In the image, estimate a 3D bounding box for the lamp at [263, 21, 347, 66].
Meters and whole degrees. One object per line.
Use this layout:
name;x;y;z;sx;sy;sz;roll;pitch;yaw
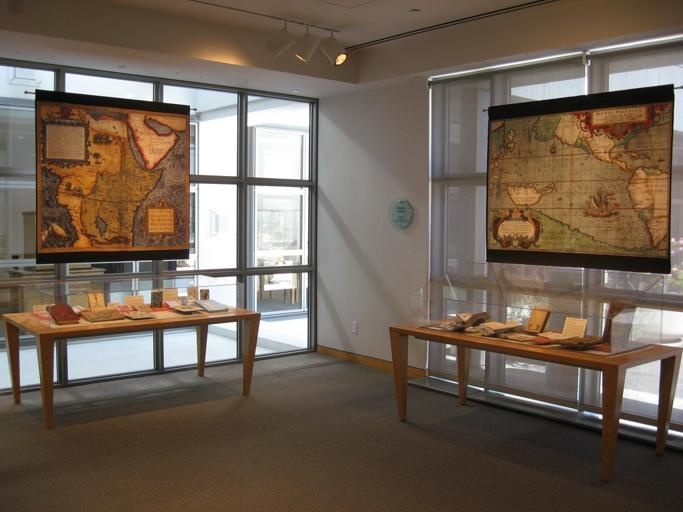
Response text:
lamp;-0.388;-2.290;5.556;0.878;0.428;0.273;7;-2;-5
